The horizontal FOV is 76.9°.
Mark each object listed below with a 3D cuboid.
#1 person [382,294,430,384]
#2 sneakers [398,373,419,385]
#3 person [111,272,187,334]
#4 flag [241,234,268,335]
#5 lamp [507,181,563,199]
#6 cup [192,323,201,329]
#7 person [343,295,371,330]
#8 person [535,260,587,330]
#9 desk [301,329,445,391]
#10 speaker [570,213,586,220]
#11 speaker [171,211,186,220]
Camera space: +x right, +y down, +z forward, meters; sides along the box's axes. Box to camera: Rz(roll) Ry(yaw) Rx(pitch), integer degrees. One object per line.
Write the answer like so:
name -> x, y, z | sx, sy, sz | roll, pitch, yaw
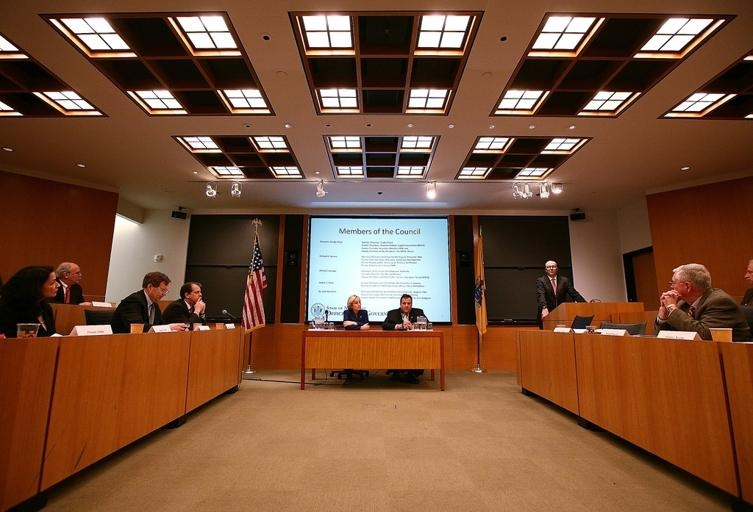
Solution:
person -> 0.499, 1.518, 8.567 | 0.814, 1.603, 0.825 | -7, -18, 30
sneakers -> 0.508, 2.154, 8.296 | 0.448, 0.200, 0.153 | -6, -11, 21
person -> -2.973, 0.575, 5.912 | 0.902, 1.007, 0.683 | -1, -11, -5
flag -> -2.414, 0.628, 9.120 | 0.390, 1.681, 1.127 | -3, 12, -12
lamp -> 3.351, -1.361, 9.881 | 1.013, 0.418, 1.214 | 5, 13, 21
cup -> -2.493, 0.960, 6.482 | 0.089, 0.130, 0.123 | -2, -3, 10
person -> -0.403, 1.061, 8.736 | 0.578, 0.833, 0.546 | 2, -22, -7
person -> 3.186, 0.685, 8.415 | 0.681, 1.187, 1.169 | 4, 13, 19
desk -> -0.108, 1.450, 8.095 | 2.502, 1.049, 1.369 | 1, 18, -17
speaker -> 4.776, -0.923, 11.150 | 0.402, 0.192, 0.197 | -4, 13, -18
speaker -> -4.655, -0.952, 11.101 | 0.209, 0.174, 0.321 | 7, 0, 15
